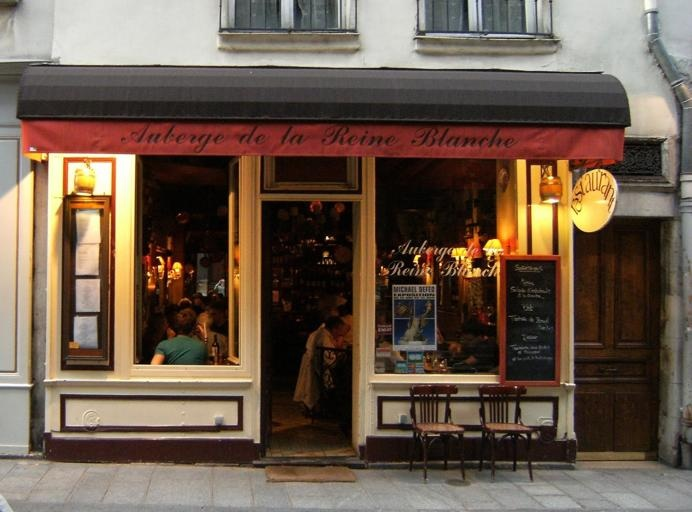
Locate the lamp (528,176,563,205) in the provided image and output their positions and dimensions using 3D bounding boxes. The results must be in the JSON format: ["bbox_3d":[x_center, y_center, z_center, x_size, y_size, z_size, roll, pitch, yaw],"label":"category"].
[{"bbox_3d":[2.820,-0.929,13.061,0.367,0.333,0.361,0,1,21],"label":"lamp"}]

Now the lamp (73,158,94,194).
[{"bbox_3d":[-3.589,-1.074,12.695,0.274,0.420,0.268,4,-3,-39],"label":"lamp"}]

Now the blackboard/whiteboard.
[{"bbox_3d":[2.577,0.905,13.012,0.829,1.722,0.627,2,15,-3],"label":"blackboard/whiteboard"}]

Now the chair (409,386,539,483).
[{"bbox_3d":[1.681,2.481,12.800,1.283,0.888,0.519,1,-7,-10],"label":"chair"}]

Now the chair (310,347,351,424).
[{"bbox_3d":[-0.187,2.072,14.662,0.885,1.151,1.100,1,4,-4],"label":"chair"}]

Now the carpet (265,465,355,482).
[{"bbox_3d":[-0.492,2.972,12.572,1.206,0.086,0.550,0,16,-7],"label":"carpet"}]

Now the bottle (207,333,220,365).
[{"bbox_3d":[-1.876,1.316,13.071,0.169,0.362,0.232,0,15,-10],"label":"bottle"}]
